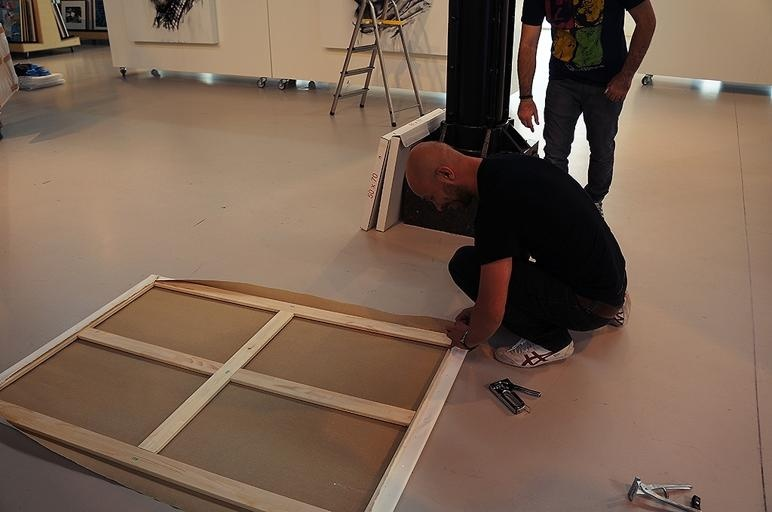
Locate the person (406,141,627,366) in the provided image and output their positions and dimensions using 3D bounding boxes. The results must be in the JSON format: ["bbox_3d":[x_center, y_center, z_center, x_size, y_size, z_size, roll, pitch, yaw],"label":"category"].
[{"bbox_3d":[0.597,0.030,2.408,0.970,1.038,0.407,-6,27,-15],"label":"person"}]

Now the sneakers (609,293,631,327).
[{"bbox_3d":[1.204,0.301,2.703,0.060,0.197,0.121,16,-5,25],"label":"sneakers"}]

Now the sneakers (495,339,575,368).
[{"bbox_3d":[0.691,0.473,2.561,0.383,0.158,0.135,-1,30,7],"label":"sneakers"}]

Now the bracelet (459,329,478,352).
[{"bbox_3d":[0.388,0.385,2.562,0.051,0.108,0.149,7,41,12],"label":"bracelet"}]
